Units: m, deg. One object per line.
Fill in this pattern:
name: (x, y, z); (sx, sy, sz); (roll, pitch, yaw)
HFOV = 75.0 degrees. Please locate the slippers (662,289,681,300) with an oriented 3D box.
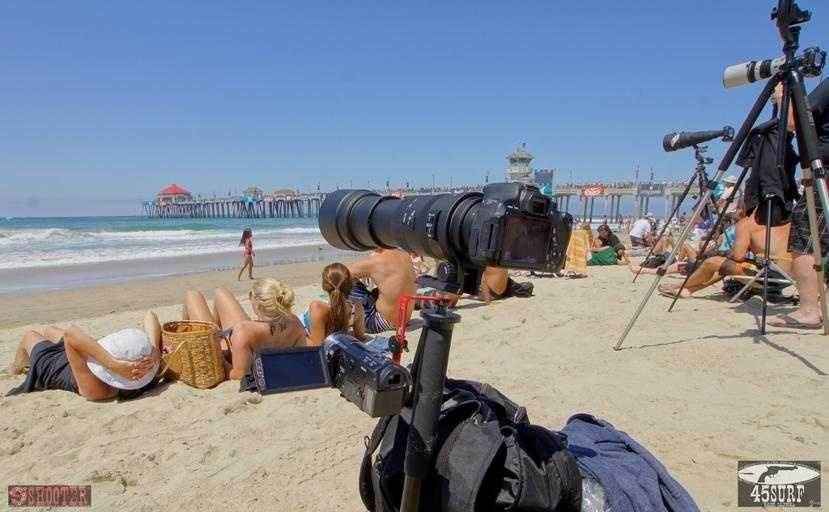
slippers: (4.237, 0.643, 8.958); (0.231, 0.105, 0.398); (-2, 2, -16)

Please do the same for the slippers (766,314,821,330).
slippers: (4.959, 0.866, 7.078); (0.396, 0.099, 0.192); (2, -1, 40)

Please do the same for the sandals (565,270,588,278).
sandals: (3.537, 0.408, 11.905); (0.308, 0.133, 0.207); (8, -7, 0)

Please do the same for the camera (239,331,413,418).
camera: (-0.569, 0.802, 3.783); (0.744, 0.257, 0.755); (11, -2, -33)
